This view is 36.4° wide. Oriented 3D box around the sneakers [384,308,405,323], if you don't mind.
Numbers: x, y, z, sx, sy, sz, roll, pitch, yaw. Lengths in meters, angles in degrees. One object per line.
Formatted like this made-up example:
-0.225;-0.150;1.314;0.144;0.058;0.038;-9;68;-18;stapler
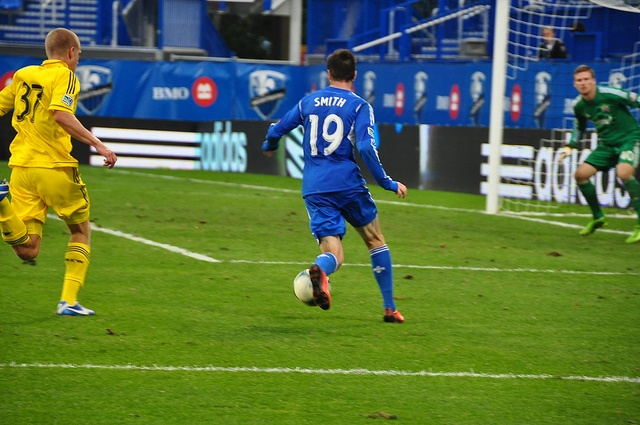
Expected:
0.720;1.052;9.845;0.245;0.109;0.114;-1;4;-16;sneakers

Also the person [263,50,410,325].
0.201;-0.245;9.593;1.450;2.723;0.598;4;6;1;person

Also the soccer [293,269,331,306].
-0.149;0.711;9.270;0.424;0.335;0.377;2;8;18;soccer

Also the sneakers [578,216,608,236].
3.698;0.186;13.326;0.470;0.186;0.154;-27;18;25;sneakers

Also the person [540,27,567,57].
4.481;-3.285;18.749;0.566;0.660;1.042;5;5;11;person

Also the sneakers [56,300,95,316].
-2.487;0.981;9.748;0.446;0.114;0.133;2;-1;-15;sneakers

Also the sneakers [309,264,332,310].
0.042;0.706;9.137;0.201;0.388;0.219;-20;4;15;sneakers
